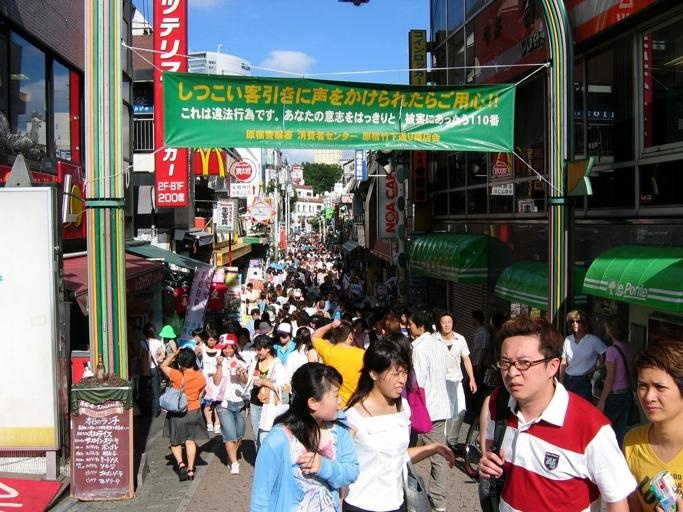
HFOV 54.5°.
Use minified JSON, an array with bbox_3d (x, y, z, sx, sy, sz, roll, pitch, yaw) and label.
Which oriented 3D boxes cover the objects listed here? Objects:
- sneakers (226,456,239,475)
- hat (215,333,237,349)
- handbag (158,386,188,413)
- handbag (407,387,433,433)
[{"bbox_3d":[-1.583,3.038,9.648,0.150,0.206,0.462,1,-12,-9],"label":"sneakers"},{"bbox_3d":[-1.959,1.428,11.231,0.301,0.305,0.490,-5,-7,39],"label":"hat"},{"bbox_3d":[-2.420,2.051,9.503,0.382,0.382,0.191,-1,2,14],"label":"handbag"},{"bbox_3d":[0.756,1.542,6.665,0.174,0.497,0.331,1,3,45],"label":"handbag"}]
